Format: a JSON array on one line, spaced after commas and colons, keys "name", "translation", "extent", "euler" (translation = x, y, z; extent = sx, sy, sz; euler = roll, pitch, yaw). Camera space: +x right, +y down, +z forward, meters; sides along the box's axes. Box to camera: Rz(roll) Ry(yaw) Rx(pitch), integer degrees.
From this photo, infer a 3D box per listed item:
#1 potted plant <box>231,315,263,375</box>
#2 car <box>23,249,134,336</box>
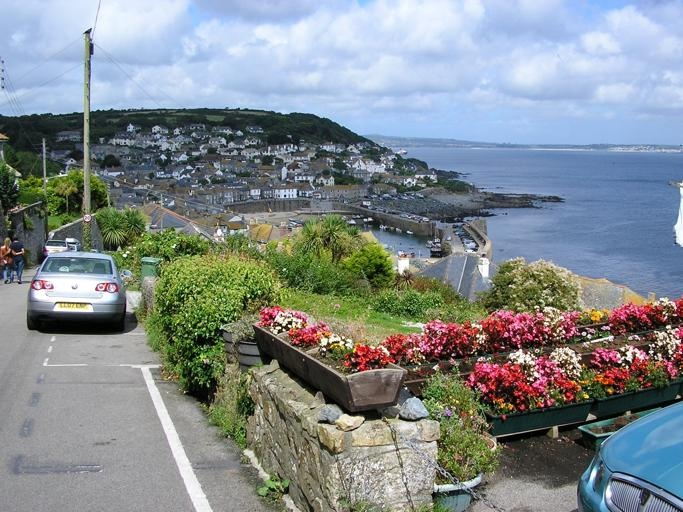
[{"name": "potted plant", "translation": [-1.190, 1.115, 6.896], "extent": [0.458, 0.593, 0.552], "euler": [-1, -1, -5]}, {"name": "car", "translation": [-5.255, 0.824, 10.863], "extent": [1.730, 1.543, 1.192], "euler": [1, 7, -21]}]
